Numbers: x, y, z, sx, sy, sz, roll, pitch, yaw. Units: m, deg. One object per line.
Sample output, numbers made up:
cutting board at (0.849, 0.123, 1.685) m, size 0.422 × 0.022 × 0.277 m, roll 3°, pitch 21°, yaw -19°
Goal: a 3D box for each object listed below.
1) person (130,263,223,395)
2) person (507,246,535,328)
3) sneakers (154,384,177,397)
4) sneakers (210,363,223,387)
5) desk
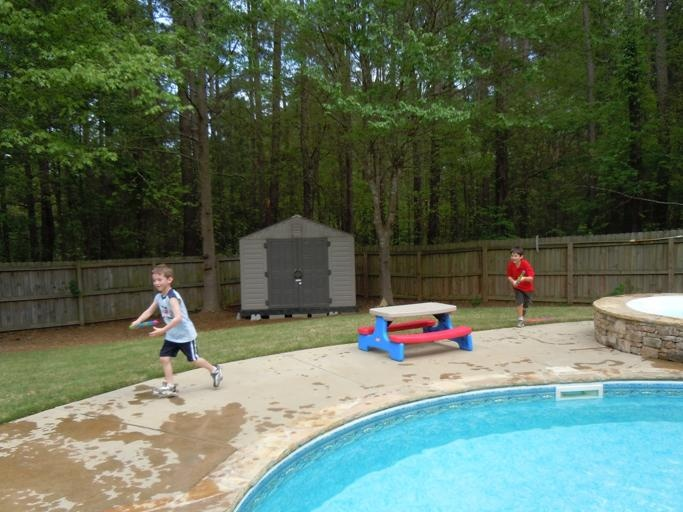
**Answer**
person at (-2.637, 1.155, 9.068) m, size 1.109 × 2.077 × 1.155 m, roll -4°, pitch 1°, yaw -10°
person at (4.014, 0.656, 12.717) m, size 0.515 × 1.434 × 1.502 m, roll -3°, pitch 0°, yaw 17°
sneakers at (-2.784, 2.128, 9.134) m, size 0.411 × 0.155 × 0.156 m, roll 3°, pitch -3°, yaw -5°
sneakers at (-2.045, 1.923, 9.370) m, size 0.200 × 0.368 × 0.138 m, roll 2°, pitch -11°, yaw -18°
desk at (1.328, 1.389, 11.047) m, size 1.575 × 0.604 × 1.367 m, roll -2°, pitch 1°, yaw -34°
